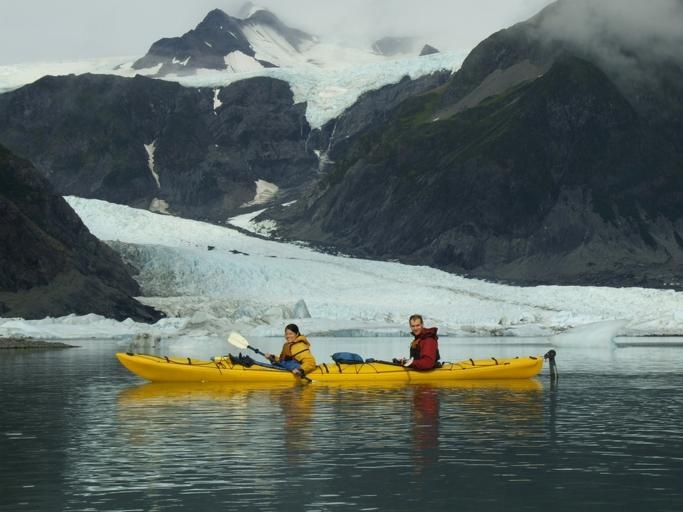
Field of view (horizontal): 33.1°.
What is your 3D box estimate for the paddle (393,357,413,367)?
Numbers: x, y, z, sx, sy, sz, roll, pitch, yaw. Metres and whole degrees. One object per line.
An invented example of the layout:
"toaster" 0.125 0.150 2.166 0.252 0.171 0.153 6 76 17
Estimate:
"paddle" 3.491 6.060 65.324 1.298 0.379 0.526 -3 -13 22
